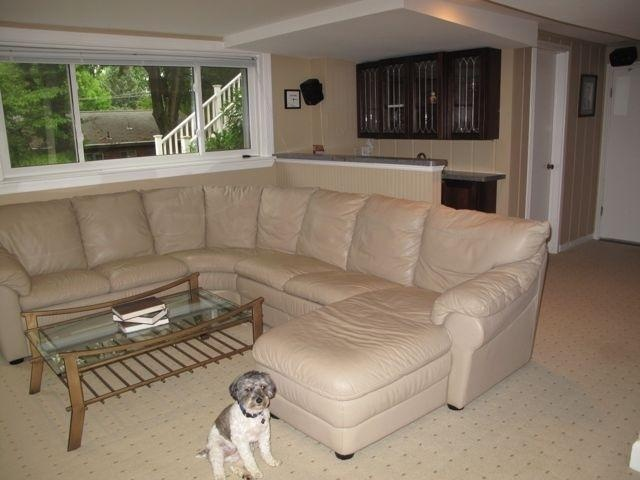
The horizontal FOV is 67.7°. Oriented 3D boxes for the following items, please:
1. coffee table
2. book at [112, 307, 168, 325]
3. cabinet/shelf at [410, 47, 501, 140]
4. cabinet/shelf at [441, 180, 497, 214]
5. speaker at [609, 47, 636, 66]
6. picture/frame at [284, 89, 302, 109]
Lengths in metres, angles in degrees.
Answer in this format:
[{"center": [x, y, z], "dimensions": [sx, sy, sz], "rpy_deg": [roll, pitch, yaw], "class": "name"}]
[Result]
[{"center": [-1.390, 0.699, 3.514], "dimensions": [1.558, 0.660, 1.042], "rpy_deg": [-15, 24, -41], "class": "coffee table"}, {"center": [-1.243, 0.560, 3.411], "dimensions": [0.187, 0.036, 0.182], "rpy_deg": [4, 8, 34], "class": "book"}, {"center": [1.488, -1.563, 5.382], "dimensions": [0.307, 0.873, 0.971], "rpy_deg": [-24, 27, -38], "class": "cabinet/shelf"}, {"center": [1.604, -0.553, 5.433], "dimensions": [0.463, 0.409, 0.246], "rpy_deg": [10, 39, 26], "class": "cabinet/shelf"}, {"center": [3.853, -2.321, 6.042], "dimensions": [0.103, 0.261, 0.318], "rpy_deg": [-10, 7, -41], "class": "speaker"}, {"center": [-0.352, -1.726, 5.819], "dimensions": [0.278, 0.240, 0.022], "rpy_deg": [-7, 12, -41], "class": "picture/frame"}]
